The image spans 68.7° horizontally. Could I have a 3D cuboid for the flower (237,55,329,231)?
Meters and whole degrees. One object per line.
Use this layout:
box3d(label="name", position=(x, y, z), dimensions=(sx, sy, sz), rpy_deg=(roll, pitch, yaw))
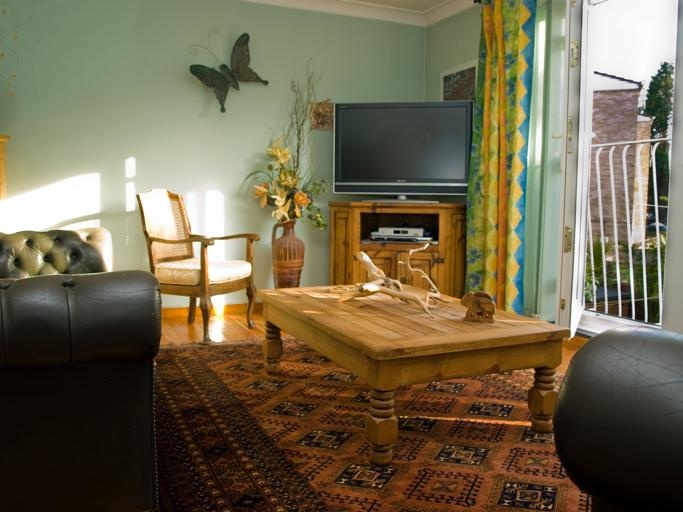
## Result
box3d(label="flower", position=(-0.471, -0.911, 4.511), dimensions=(0.667, 1.591, 0.394), rpy_deg=(6, 8, 15))

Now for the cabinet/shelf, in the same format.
box3d(label="cabinet/shelf", position=(0.520, 0.001, 4.603), dimensions=(1.171, 1.058, 0.464), rpy_deg=(1, 15, 6))

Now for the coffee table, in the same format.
box3d(label="coffee table", position=(0.254, 0.534, 2.718), dimensions=(1.023, 0.513, 1.453), rpy_deg=(-1, 6, -25))

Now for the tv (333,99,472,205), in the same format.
box3d(label="tv", position=(0.534, -0.967, 4.479), dimensions=(1.184, 0.804, 0.100), rpy_deg=(2, 9, 12))

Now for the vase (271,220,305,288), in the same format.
box3d(label="vase", position=(-0.466, 0.014, 4.474), dimensions=(0.309, 0.628, 0.286), rpy_deg=(3, 2, 11))

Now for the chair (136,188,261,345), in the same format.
box3d(label="chair", position=(-1.135, 0.001, 4.162), dimensions=(0.930, 1.249, 0.878), rpy_deg=(2, 4, 27))
